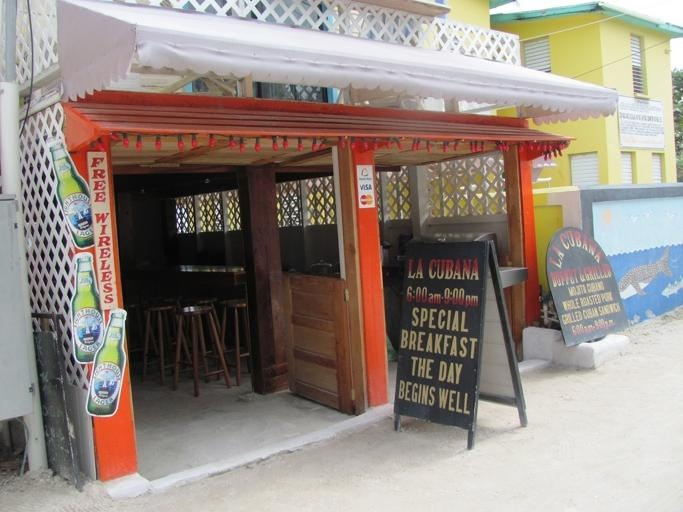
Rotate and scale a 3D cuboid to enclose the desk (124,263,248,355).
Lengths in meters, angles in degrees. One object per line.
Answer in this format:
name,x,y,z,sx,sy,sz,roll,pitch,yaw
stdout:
desk,-2.564,0.662,9.771,1.763,0.591,0.862,1,-25,-17
